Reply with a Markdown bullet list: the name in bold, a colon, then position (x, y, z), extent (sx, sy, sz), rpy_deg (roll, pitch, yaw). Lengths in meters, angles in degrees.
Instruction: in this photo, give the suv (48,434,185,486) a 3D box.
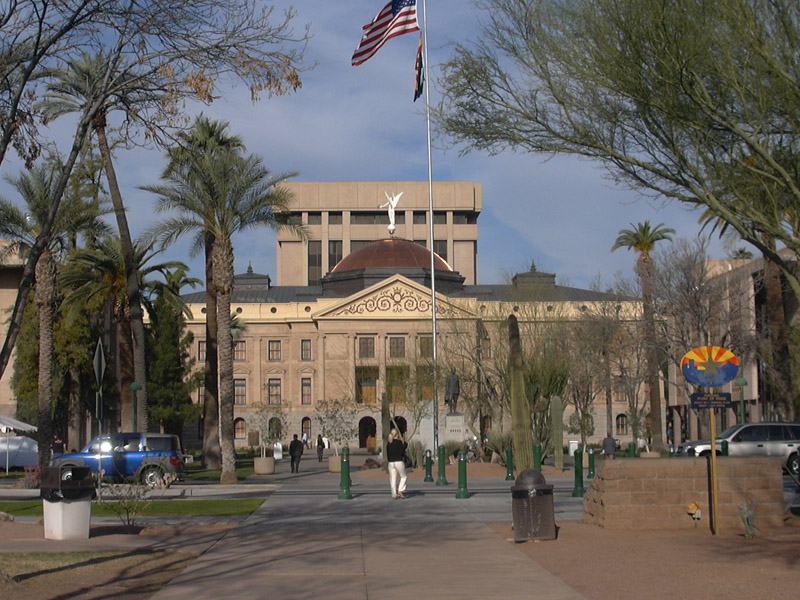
- **suv**: position (-9.287, 5.703, 40.694), extent (4.243, 2.156, 2.419), rpy_deg (2, -26, -13)
